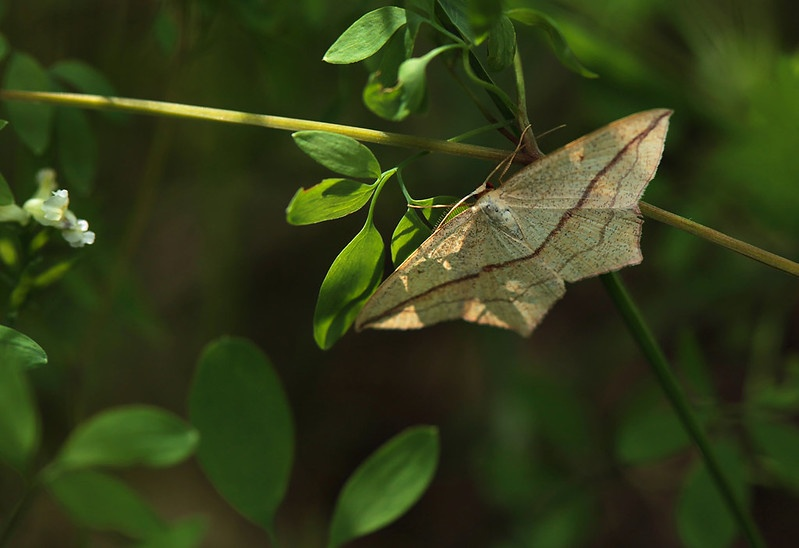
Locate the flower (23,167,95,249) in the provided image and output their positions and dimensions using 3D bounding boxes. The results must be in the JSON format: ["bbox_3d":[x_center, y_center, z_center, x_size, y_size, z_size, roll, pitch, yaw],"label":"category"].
[{"bbox_3d":[-1.100,-0.201,2.583,0.115,0.281,0.167,-43,-7,40],"label":"flower"}]
